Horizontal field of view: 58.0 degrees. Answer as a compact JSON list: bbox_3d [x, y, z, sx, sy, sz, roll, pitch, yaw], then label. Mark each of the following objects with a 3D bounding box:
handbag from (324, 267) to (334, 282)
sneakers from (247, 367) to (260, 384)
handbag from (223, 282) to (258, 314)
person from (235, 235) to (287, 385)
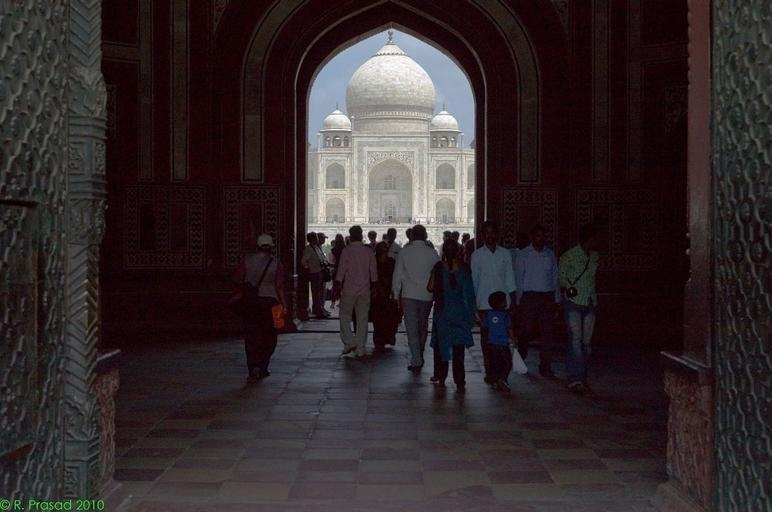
[{"bbox_3d":[-0.917,0.281,11.256,0.217,0.212,0.208,-3,-4,-18],"label":"handbag"},{"bbox_3d":[-1.182,1.045,6.221,0.124,0.122,0.073,13,-18,-25],"label":"sneakers"},{"bbox_3d":[-1.300,0.381,6.328,0.263,0.283,0.132,-2,3,-15],"label":"handbag"},{"bbox_3d":[-1.130,0.448,6.323,0.389,1.280,0.251,-3,3,-27],"label":"person"}]
